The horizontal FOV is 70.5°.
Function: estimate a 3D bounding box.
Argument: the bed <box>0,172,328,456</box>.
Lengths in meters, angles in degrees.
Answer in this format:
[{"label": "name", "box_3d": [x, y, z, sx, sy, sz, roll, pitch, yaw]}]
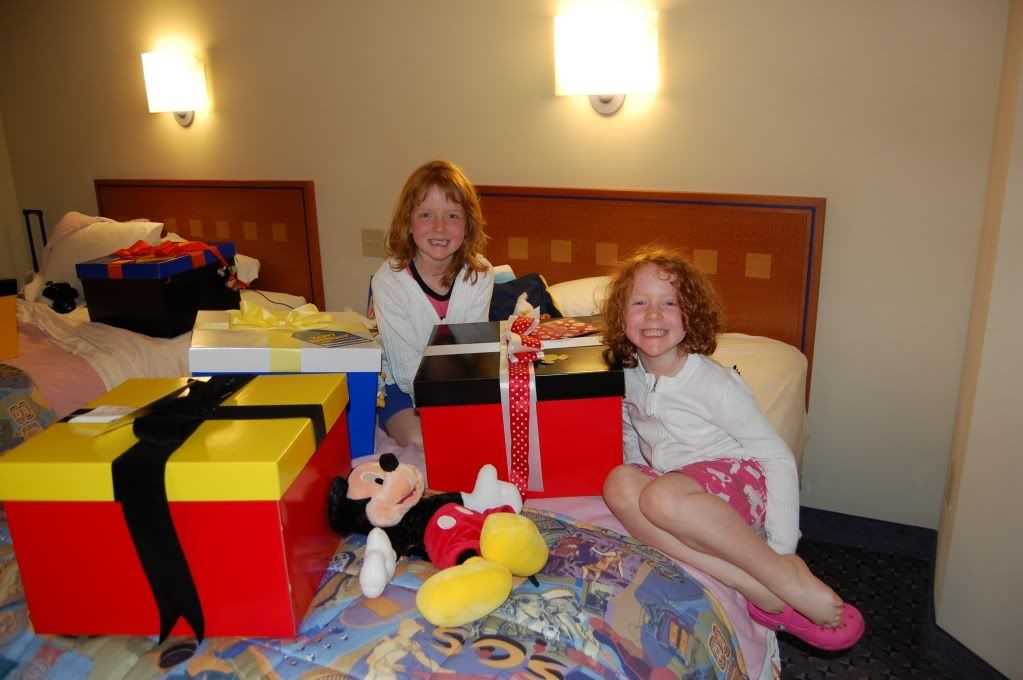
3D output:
[{"label": "bed", "box_3d": [-1.658, -0.181, 3.198, 1.266, 0.821, 1.328, 5, 19, 15]}]

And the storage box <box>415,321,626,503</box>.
[{"label": "storage box", "box_3d": [0.040, 0.144, 2.106, 0.466, 0.295, 0.458, -1, 21, 1]}]

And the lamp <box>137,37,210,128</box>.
[{"label": "lamp", "box_3d": [-1.717, -1.298, 3.652, 0.403, 0.429, 0.167, 8, 18, 34]}]

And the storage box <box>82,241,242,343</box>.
[{"label": "storage box", "box_3d": [-1.475, -0.219, 3.120, 0.492, 0.304, 0.486, 9, 23, 20]}]

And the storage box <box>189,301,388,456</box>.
[{"label": "storage box", "box_3d": [-0.639, 0.005, 2.112, 0.500, 0.366, 0.495, 1, 14, -4]}]

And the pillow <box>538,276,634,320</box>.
[{"label": "pillow", "box_3d": [0.259, -0.169, 2.813, 0.204, 0.095, 0.195, -7, 22, -8]}]
